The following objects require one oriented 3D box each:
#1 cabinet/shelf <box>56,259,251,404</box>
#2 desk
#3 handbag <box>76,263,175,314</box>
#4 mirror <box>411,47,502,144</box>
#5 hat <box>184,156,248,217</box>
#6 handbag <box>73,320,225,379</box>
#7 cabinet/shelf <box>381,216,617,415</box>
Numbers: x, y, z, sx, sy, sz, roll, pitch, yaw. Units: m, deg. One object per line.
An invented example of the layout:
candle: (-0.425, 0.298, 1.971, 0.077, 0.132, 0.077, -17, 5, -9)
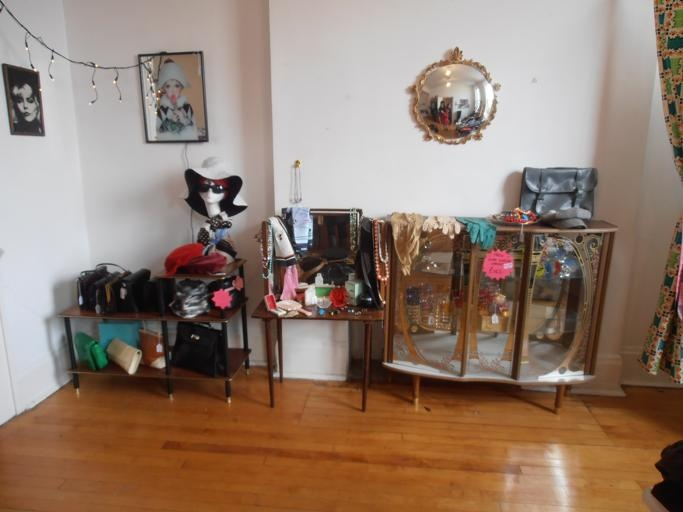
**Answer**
cabinet/shelf: (-1.544, 0.644, 4.461, 1.439, 1.041, 0.555, 1, 17, 9)
desk: (-0.177, 0.748, 4.364, 1.050, 0.834, 0.644, 1, 12, 4)
handbag: (-1.792, 0.281, 4.332, 0.717, 0.314, 0.313, 3, 12, 13)
mirror: (0.897, -1.234, 4.157, 0.771, 0.754, 0.059, 10, 27, 31)
hat: (-1.015, -0.550, 4.396, 0.498, 0.500, 0.404, 6, 51, 4)
handbag: (-1.410, 0.719, 4.118, 1.288, 0.419, 0.415, -1, 1, 16)
cabinet/shelf: (1.200, 0.405, 4.038, 1.461, 1.265, 0.588, 2, 8, 9)
